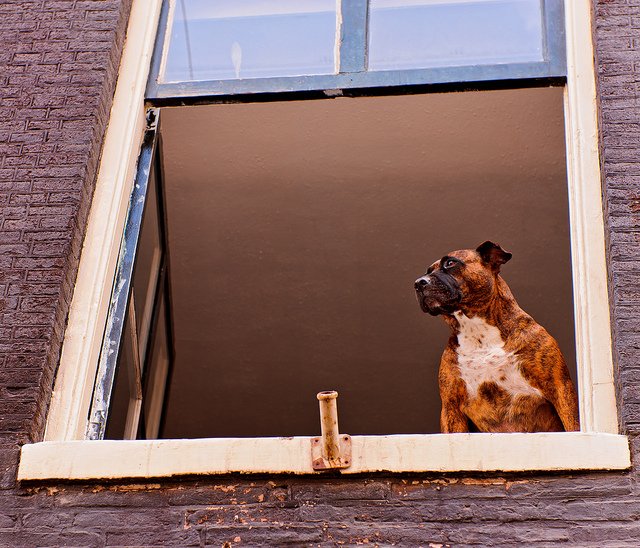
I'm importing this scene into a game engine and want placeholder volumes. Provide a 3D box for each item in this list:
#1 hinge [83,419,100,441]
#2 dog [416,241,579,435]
[{"bbox_3d":[-1.052,0.734,6.087,0.077,0.083,0.106,4,56,-3],"label":"hinge"},{"bbox_3d":[0.859,0.357,6.364,0.638,0.646,1.011,-7,34,-5],"label":"dog"}]
